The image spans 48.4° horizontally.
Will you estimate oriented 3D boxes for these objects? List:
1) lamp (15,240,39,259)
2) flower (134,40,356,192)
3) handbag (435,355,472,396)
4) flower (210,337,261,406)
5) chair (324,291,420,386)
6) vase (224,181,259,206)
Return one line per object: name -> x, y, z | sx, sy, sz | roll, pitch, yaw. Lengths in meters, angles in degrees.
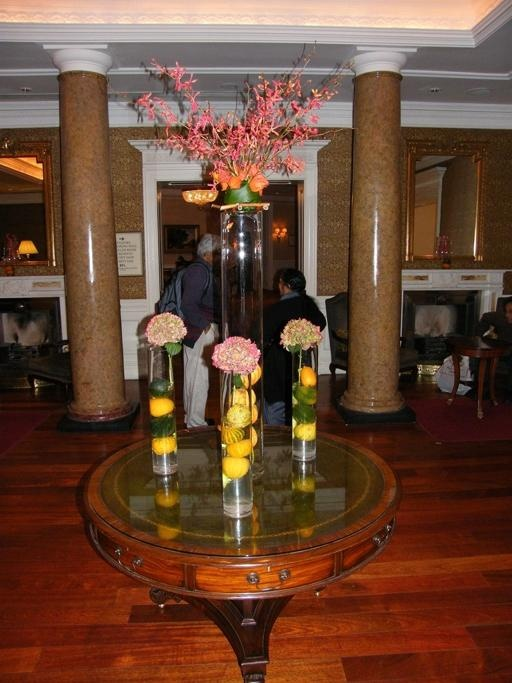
lamp -> -2.717, -1.105, 6.829 | 0.232, 0.207, 0.218 | -3, 24, -8
flower -> -0.092, -0.812, 2.362 | 0.704, 0.483, 0.619 | -1, 2, 1
handbag -> 2.127, 0.375, 6.272 | 0.422, 0.423, 0.465 | -1, 10, 3
flower -> -0.063, 0.090, 1.937 | 0.168, 0.159, 0.158 | -22, 51, -23
chair -> 1.290, -0.077, 6.452 | 0.970, 1.025, 0.864 | 1, 1, 34
vase -> -0.058, -0.586, 2.216 | 0.100, 0.088, 0.096 | -13, 28, -29
